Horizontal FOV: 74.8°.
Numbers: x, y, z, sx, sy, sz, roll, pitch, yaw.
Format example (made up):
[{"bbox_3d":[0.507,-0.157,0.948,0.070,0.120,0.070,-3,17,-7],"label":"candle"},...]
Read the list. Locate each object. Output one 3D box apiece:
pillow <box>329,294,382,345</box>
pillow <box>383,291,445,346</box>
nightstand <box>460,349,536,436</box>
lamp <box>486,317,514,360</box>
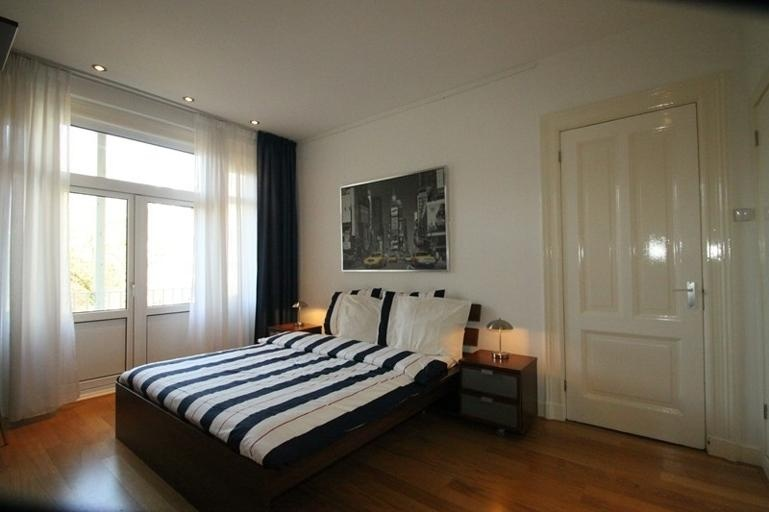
[{"bbox_3d":[-0.298,0.688,5.732,0.567,0.508,0.172,1,-21,31],"label":"pillow"},{"bbox_3d":[0.328,0.671,5.195,0.606,0.518,0.183,0,-21,38],"label":"pillow"},{"bbox_3d":[1.129,1.315,5.012,0.655,0.607,0.517,3,8,37],"label":"nightstand"},{"bbox_3d":[1.137,0.802,4.963,0.357,0.368,0.354,5,-4,-44],"label":"lamp"}]
